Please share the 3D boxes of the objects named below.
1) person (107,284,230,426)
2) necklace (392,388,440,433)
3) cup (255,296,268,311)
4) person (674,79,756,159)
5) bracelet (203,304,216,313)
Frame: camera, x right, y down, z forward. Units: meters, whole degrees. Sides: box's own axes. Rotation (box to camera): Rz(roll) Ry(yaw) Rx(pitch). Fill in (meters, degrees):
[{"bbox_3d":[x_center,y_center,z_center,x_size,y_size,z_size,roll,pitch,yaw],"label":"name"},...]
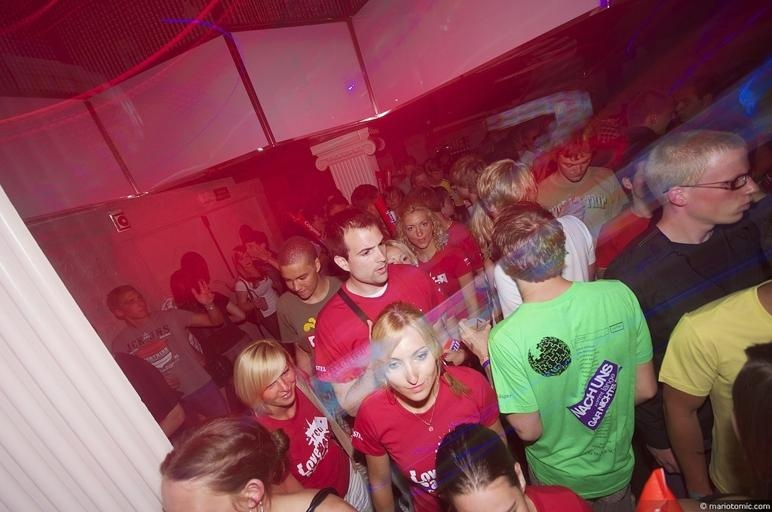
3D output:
[{"bbox_3d":[-2.161,0.998,4.767,0.465,1.543,0.754,-37,14,32],"label":"person"},{"bbox_3d":[0.230,1.187,3.646,0.223,0.307,0.075,-38,-2,-2],"label":"necklace"},{"bbox_3d":[-1.641,0.640,6.282,0.109,0.154,0.121,-6,-26,-32],"label":"cup"},{"bbox_3d":[3.939,-1.754,5.885,0.634,0.835,2.626,-23,4,37],"label":"person"},{"bbox_3d":[-2.088,0.622,5.659,0.098,0.099,0.108,5,2,25],"label":"bracelet"}]
